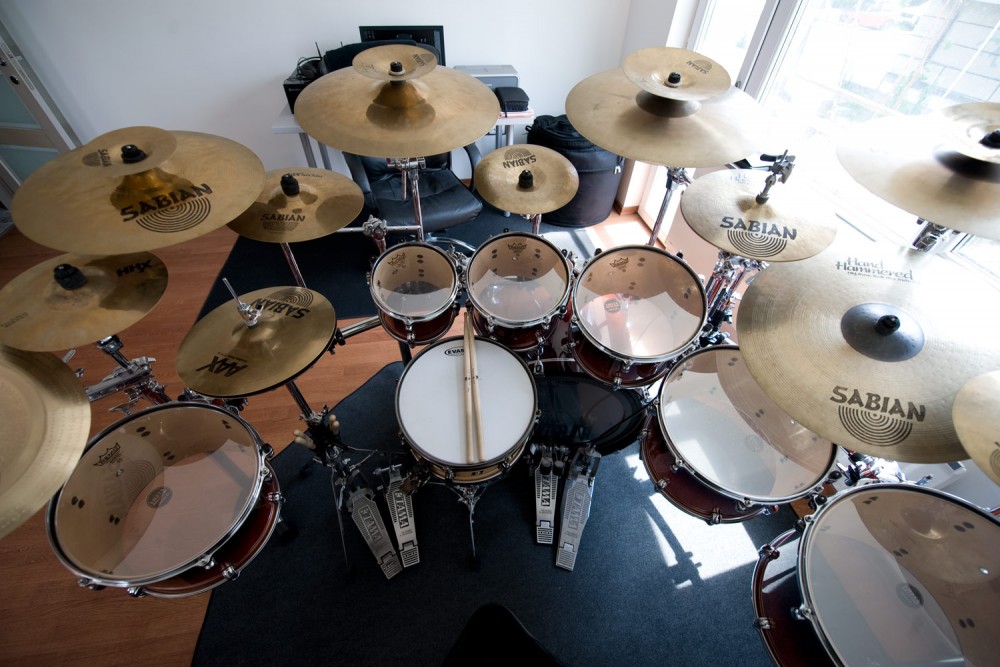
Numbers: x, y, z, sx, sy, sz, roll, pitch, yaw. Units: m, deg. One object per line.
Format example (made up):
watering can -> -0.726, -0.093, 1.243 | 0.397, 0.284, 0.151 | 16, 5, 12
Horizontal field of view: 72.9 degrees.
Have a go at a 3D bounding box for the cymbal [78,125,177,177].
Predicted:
cymbal -> -1.835, -0.898, 3.364 | 0.369, 0.108, 0.359 | -32, 61, -25

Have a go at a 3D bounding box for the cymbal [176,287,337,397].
cymbal -> -1.276, 0.042, 3.593 | 0.647, 0.218, 0.638 | -39, 64, -23

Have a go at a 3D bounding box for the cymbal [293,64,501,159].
cymbal -> -0.586, -1.402, 3.882 | 1.179, 0.277, 1.122 | -13, 44, -30

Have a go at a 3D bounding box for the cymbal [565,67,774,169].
cymbal -> 0.940, -1.117, 3.698 | 0.763, 0.179, 0.730 | 18, 51, 7

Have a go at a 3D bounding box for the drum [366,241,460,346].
drum -> -0.487, -0.214, 3.897 | 0.568, 0.426, 0.581 | 1, 63, -2

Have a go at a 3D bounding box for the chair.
chair -> -0.586, -1.036, 4.038 | 0.674, 1.121, 0.635 | -7, 62, -8

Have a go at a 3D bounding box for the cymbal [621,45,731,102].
cymbal -> 0.930, -1.407, 3.643 | 0.548, 0.068, 0.445 | -2, 53, -5

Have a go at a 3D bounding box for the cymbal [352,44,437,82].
cymbal -> -0.570, -1.511, 3.778 | 0.331, 0.055, 0.310 | 12, 47, 3

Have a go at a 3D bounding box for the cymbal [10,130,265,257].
cymbal -> -1.787, -0.674, 3.422 | 1.166, 0.491, 0.705 | -14, 55, -14
